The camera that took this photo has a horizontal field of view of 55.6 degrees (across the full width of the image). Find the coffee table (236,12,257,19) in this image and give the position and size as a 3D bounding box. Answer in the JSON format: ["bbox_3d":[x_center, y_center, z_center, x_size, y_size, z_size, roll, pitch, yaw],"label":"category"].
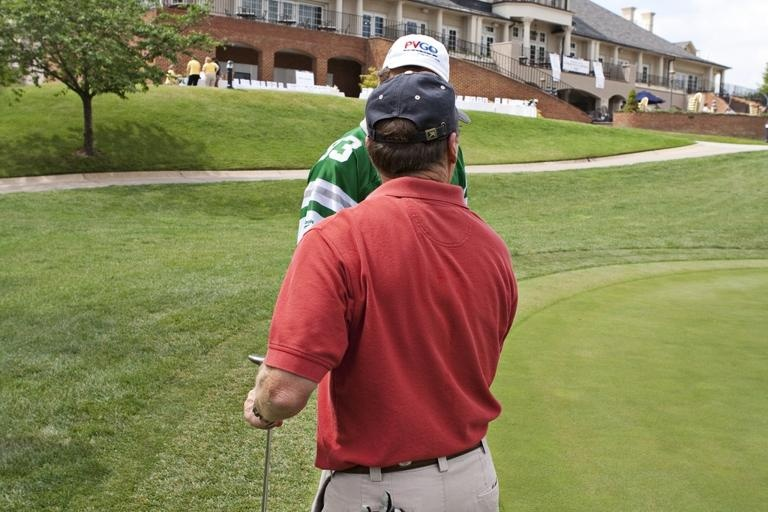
[{"bbox_3d":[-7.299,-12.623,38.199,0.891,0.215,0.892,-1,9,-15],"label":"coffee table"}]

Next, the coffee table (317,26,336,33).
[{"bbox_3d":[-3.175,-12.927,41.345,0.720,0.241,0.775,-11,20,-33],"label":"coffee table"}]

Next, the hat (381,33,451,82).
[{"bbox_3d":[0.294,-1.680,6.228,0.454,0.330,0.621,5,2,8],"label":"hat"}]

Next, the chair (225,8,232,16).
[{"bbox_3d":[-8.168,-12.825,38.128,0.427,0.396,0.509,-1,12,-13],"label":"chair"}]

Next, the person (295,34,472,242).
[{"bbox_3d":[0.166,-0.853,6.476,1.546,2.202,1.104,6,5,-27],"label":"person"}]

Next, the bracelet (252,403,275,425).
[{"bbox_3d":[-0.789,1.048,4.866,0.066,0.126,0.166,-38,24,-27],"label":"bracelet"}]
